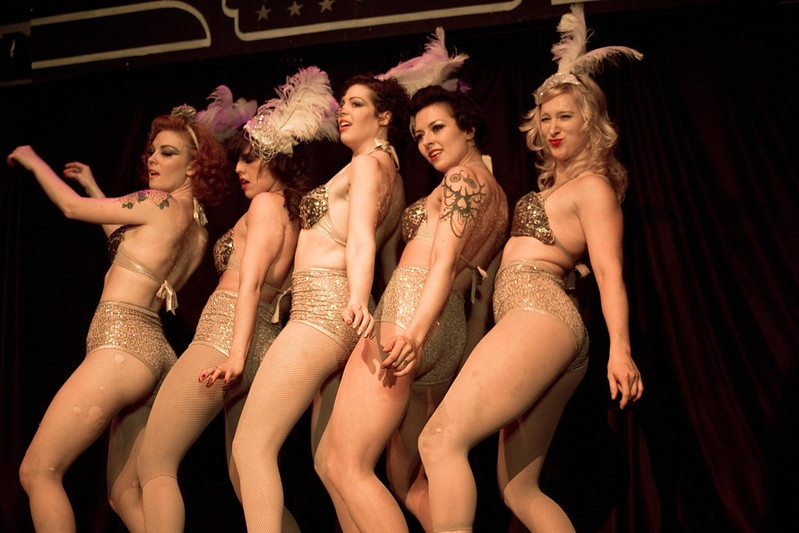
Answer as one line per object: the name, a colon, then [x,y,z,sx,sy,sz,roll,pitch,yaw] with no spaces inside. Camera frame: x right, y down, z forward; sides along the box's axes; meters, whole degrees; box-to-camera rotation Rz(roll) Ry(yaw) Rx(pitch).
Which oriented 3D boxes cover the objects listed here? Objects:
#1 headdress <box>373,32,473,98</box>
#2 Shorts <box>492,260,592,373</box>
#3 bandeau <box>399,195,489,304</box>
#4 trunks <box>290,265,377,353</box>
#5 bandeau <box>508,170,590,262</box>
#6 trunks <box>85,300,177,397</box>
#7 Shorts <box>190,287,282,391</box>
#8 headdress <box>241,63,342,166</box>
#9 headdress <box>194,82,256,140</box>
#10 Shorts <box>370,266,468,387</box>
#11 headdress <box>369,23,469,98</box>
headdress: [0.082,-1.160,4.486,0.480,0.346,0.801,11,11,0]
Shorts: [0.744,0.389,4.110,0.430,0.847,0.480,-11,57,17]
bandeau: [0.314,-0.195,4.487,0.592,0.453,0.290,38,65,20]
trunks: [-0.349,0.205,4.300,0.426,0.374,0.375,29,41,-24]
bandeau: [0.857,-0.235,4.289,0.468,0.335,0.506,13,11,-9]
trunks: [-1.609,0.417,4.905,0.426,0.751,0.544,11,68,1]
Shorts: [-0.878,0.375,4.756,0.524,0.537,0.427,21,74,30]
headdress: [-0.637,-0.918,4.736,0.551,0.557,0.194,-22,-12,5]
headdress: [-1.135,-1.078,5.274,0.498,0.254,0.649,-23,7,-18]
Shorts: [0.106,0.321,4.053,0.306,0.468,0.451,-2,57,45]
headdress: [0.117,-1.190,4.580,0.528,0.386,0.223,-13,-6,-2]
